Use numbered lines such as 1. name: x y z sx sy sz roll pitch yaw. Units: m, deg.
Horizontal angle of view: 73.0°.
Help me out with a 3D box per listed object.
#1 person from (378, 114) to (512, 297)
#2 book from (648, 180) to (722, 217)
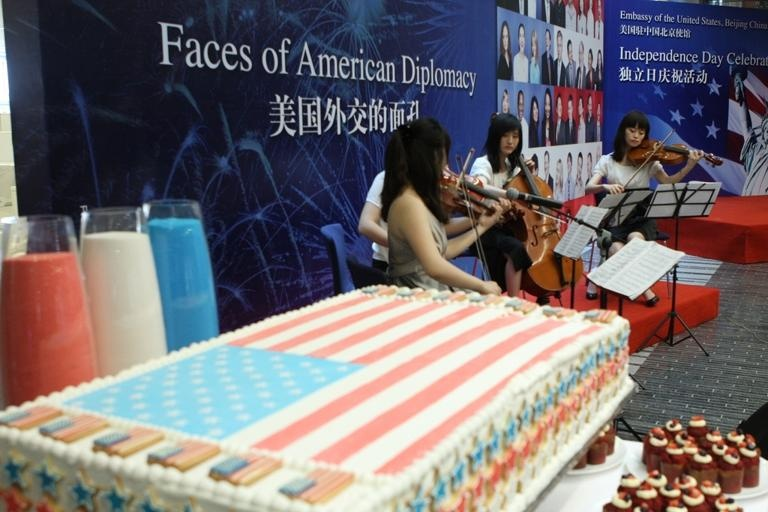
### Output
1. person: 0.284 -0.290 3.108 0.588 1.042 0.367 1 11 -1
2. book: 3.172 -0.597 5.527 0.885 0.391 0.321 -3 13 -20
